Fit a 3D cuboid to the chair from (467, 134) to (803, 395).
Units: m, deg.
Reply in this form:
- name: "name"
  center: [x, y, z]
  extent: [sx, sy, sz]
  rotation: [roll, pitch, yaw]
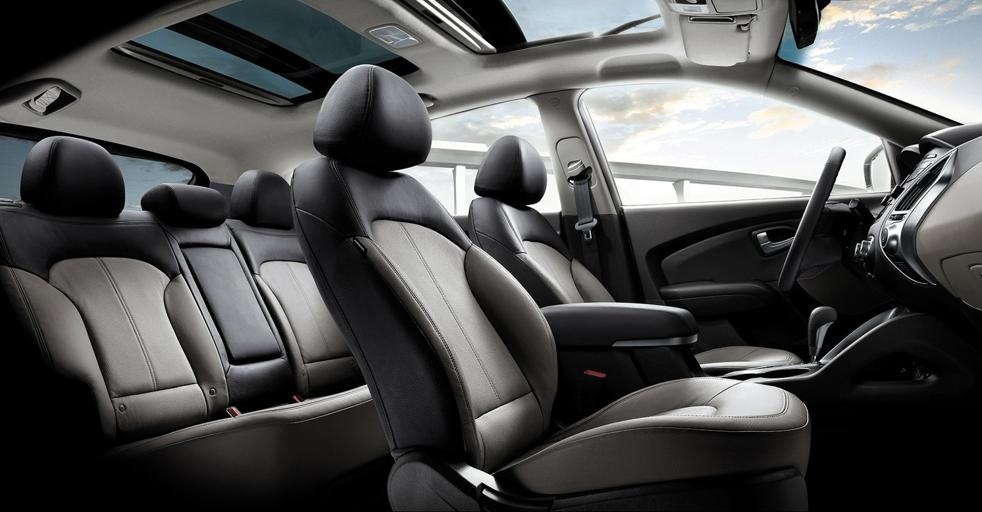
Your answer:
- name: "chair"
  center: [0.623, 0.195, 3.240]
  extent: [1.739, 1.391, 1.128]
  rotation: [-11, -17, 18]
